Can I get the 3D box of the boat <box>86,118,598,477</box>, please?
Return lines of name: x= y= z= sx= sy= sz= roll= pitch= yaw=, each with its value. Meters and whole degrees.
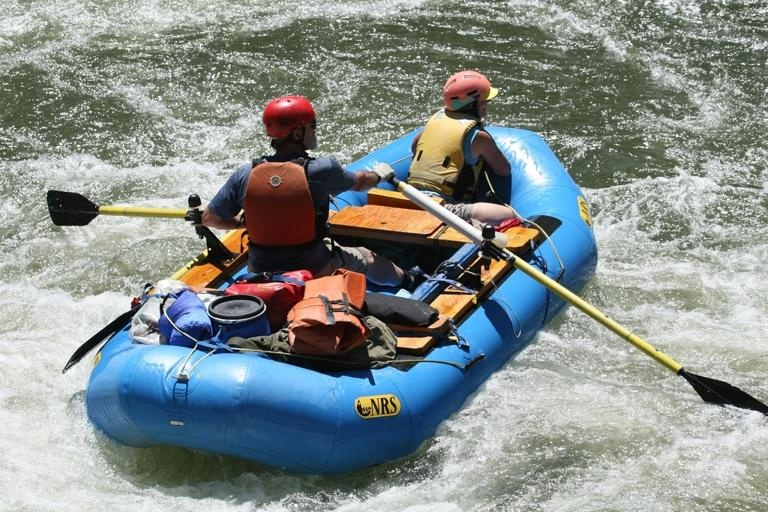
boat: x=-0.118 y=0.219 z=10.635 sx=2.856 sy=2.070 sz=4.941 roll=22 pitch=29 yaw=32

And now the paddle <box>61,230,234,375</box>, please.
paddle: x=-2.245 y=0.590 z=10.646 sx=0.289 sy=1.027 sz=1.718 roll=55 pitch=6 yaw=2

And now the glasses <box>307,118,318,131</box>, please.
glasses: x=-0.635 y=-1.180 z=10.121 sx=0.081 sy=0.024 sz=0.137 roll=-6 pitch=-16 yaw=-7

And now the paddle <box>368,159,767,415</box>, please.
paddle: x=1.681 y=0.375 z=10.784 sx=4.536 sy=0.454 sz=0.308 roll=29 pitch=37 yaw=12

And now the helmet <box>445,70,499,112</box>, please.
helmet: x=0.894 y=-1.667 z=11.256 sx=0.569 sy=0.271 sz=0.331 roll=-18 pitch=36 yaw=-4
